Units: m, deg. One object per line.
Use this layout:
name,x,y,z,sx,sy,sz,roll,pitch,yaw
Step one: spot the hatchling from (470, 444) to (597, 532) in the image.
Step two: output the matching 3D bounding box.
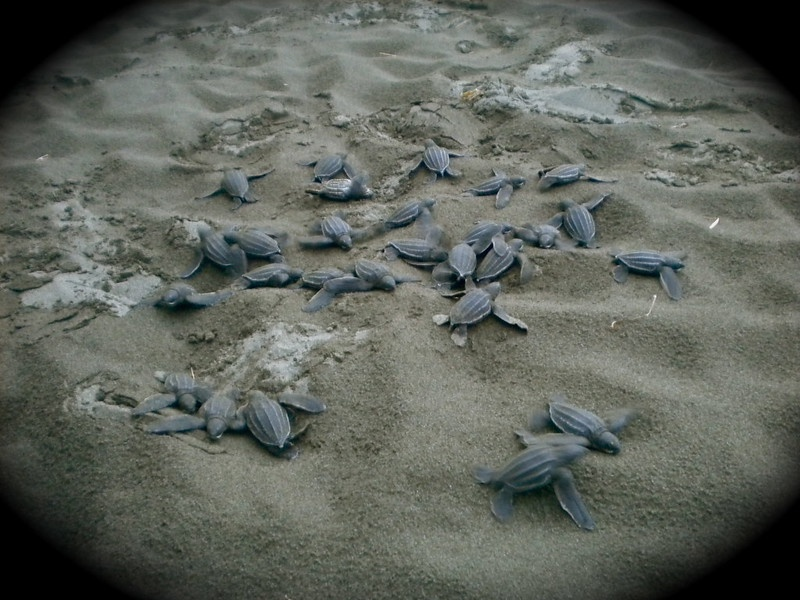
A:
hatchling,1.361,1.732,8.926,0.908,0.800,1.506,5,26,17
